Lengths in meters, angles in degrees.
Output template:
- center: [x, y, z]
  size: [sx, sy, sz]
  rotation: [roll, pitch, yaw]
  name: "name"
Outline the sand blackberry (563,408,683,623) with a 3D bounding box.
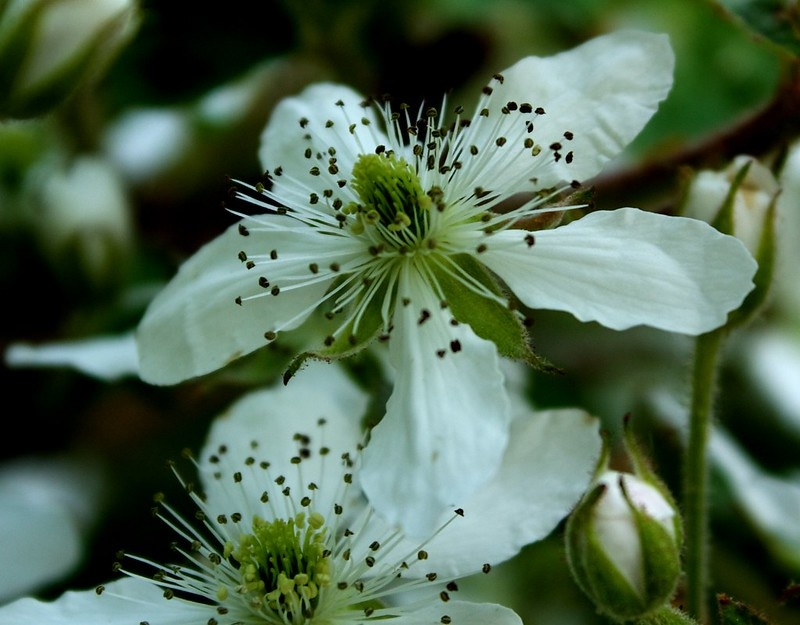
- center: [0.270, 0.270, 1.257]
  size: [0.127, 0.133, 0.168]
  rotation: [-28, 57, -18]
  name: "sand blackberry"
